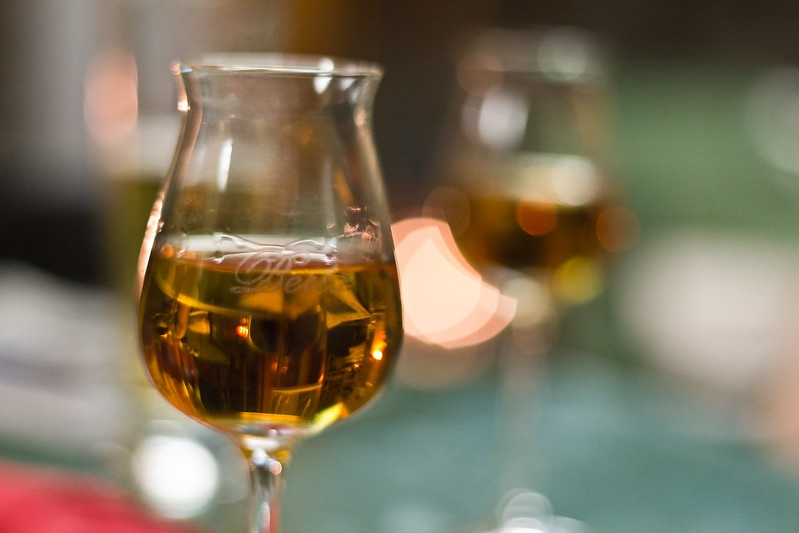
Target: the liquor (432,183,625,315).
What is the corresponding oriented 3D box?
[{"bbox_3d":[0.175,-0.001,0.909,0.224,0.251,0.146,-10,76,18],"label":"liquor"}]
